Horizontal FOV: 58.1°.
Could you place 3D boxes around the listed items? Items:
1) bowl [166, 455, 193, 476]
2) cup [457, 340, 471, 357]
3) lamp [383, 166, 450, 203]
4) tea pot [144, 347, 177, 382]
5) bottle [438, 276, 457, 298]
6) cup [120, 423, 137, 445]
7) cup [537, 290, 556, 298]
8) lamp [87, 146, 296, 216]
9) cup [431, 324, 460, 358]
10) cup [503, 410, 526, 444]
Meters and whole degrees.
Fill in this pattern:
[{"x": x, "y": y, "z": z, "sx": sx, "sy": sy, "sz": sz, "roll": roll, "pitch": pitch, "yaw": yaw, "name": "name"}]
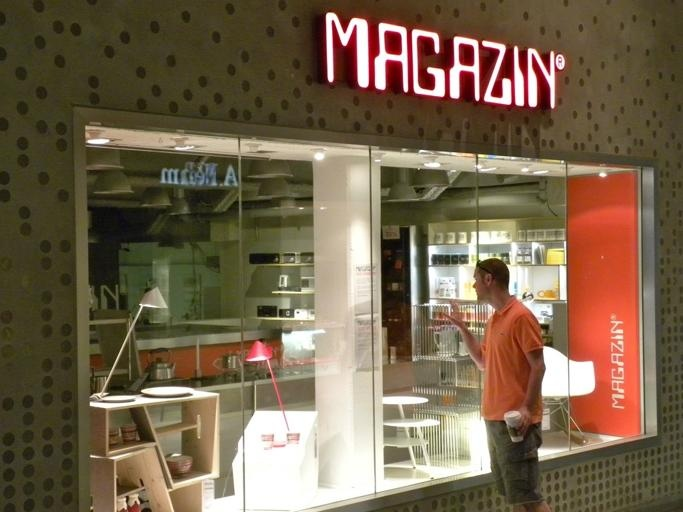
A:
[{"x": -1.022, "y": 1.293, "z": 3.795, "sx": 0.133, "sy": 0.091, "sz": 0.140, "roll": 2, "pitch": 0, "yaw": 0, "name": "bowl"}, {"x": 0.958, "y": 0.722, "z": 4.792, "sx": 0.093, "sy": 0.119, "sz": 0.100, "roll": -1, "pitch": 1, "yaw": 0, "name": "cup"}, {"x": 0.555, "y": -0.509, "z": 4.575, "sx": 0.417, "sy": 0.329, "sz": 0.241, "roll": 0, "pitch": 0, "yaw": 40, "name": "lamp"}, {"x": -1.064, "y": 0.621, "z": 3.510, "sx": 0.175, "sy": 0.190, "sz": 0.129, "roll": 3, "pitch": -7, "yaw": -33, "name": "tea pot"}, {"x": 0.799, "y": 0.225, "z": 4.641, "sx": 0.074, "sy": 0.118, "sz": 0.150, "roll": 5, "pitch": 6, "yaw": 39, "name": "bottle"}, {"x": -1.266, "y": 1.032, "z": 3.576, "sx": 0.100, "sy": 0.116, "sz": 0.110, "roll": 0, "pitch": -1, "yaw": -1, "name": "cup"}, {"x": 1.869, "y": 0.338, "z": 5.559, "sx": 0.116, "sy": 0.068, "sz": 0.082, "roll": -2, "pitch": -1, "yaw": -8, "name": "cup"}, {"x": -0.949, "y": -0.449, "z": 3.598, "sx": 0.848, "sy": 0.386, "sz": 0.184, "roll": 3, "pitch": 14, "yaw": -36, "name": "lamp"}, {"x": 0.809, "y": 0.647, "z": 4.741, "sx": 0.227, "sy": 0.339, "sz": 0.193, "roll": -2, "pitch": 1, "yaw": -33, "name": "cup"}, {"x": 1.141, "y": 1.118, "z": 4.014, "sx": 0.111, "sy": 0.198, "sz": 0.170, "roll": -5, "pitch": -2, "yaw": 15, "name": "cup"}]
